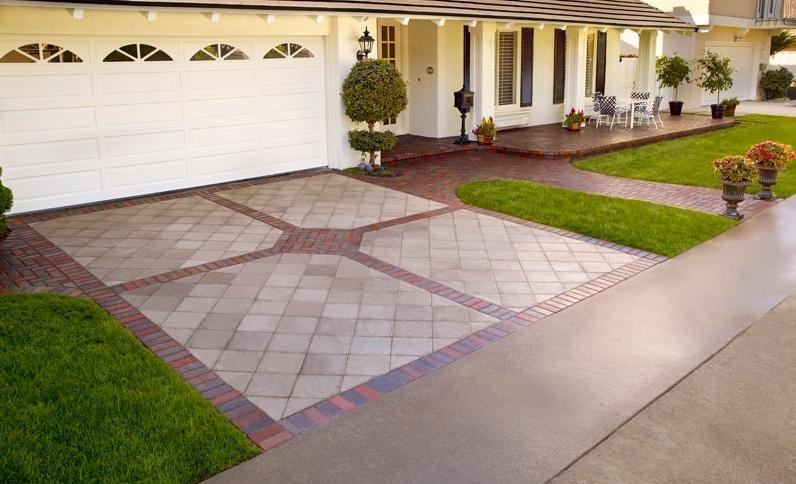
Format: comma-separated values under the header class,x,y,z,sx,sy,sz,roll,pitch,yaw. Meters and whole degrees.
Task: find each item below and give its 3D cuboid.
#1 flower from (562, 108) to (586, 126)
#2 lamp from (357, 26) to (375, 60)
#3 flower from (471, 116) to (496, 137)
class,x,y,z,sx,sy,sz,roll,pitch,yaw
flower,7.445,-5.275,18.900,0.779,0.712,1.426,5,21,19
lamp,-0.978,-5.734,12.891,0.515,0.902,0.541,-7,21,-11
flower,3.190,-4.253,16.430,0.951,0.595,0.750,3,23,6
